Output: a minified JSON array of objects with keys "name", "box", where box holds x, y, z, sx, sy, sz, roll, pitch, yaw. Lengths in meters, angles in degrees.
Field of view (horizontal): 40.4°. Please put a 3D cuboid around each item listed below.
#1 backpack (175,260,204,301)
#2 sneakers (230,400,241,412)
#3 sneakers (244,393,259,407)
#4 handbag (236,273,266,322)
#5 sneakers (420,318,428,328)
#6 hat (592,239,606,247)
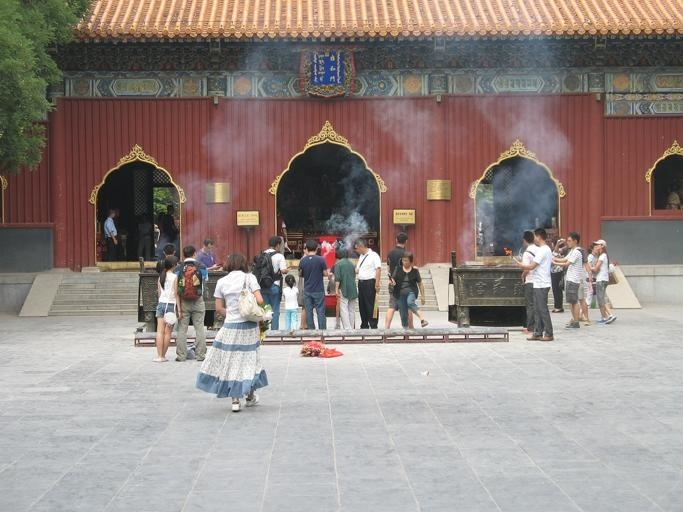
[{"name":"backpack","box":[-2.477,0.446,15.553,0.458,0.653,0.401,0,-2,22]},{"name":"sneakers","box":[-1.444,2.042,12.593,0.120,0.137,0.346,-1,-7,-5]},{"name":"sneakers","box":[-1.247,1.995,12.778,0.097,0.114,0.252,1,8,14]},{"name":"handbag","box":[-1.282,0.605,12.862,0.252,0.595,0.522,-11,-19,20]},{"name":"sneakers","box":[1.599,1.309,17.839,0.100,0.126,0.285,-2,-7,-5]},{"name":"hat","box":[5.732,-0.263,20.604,0.231,0.084,0.159,8,-4,-19]}]
